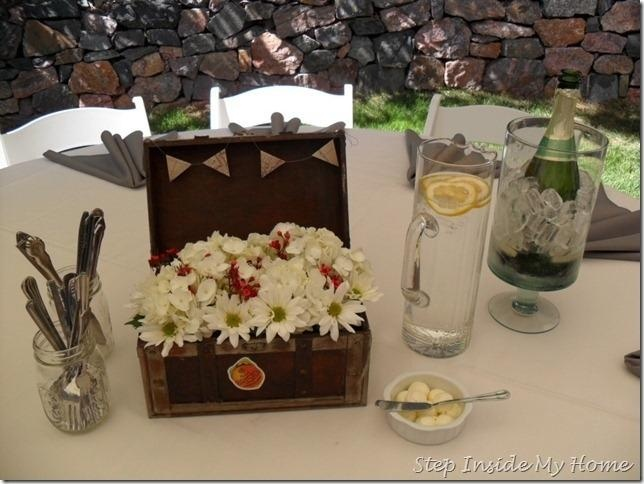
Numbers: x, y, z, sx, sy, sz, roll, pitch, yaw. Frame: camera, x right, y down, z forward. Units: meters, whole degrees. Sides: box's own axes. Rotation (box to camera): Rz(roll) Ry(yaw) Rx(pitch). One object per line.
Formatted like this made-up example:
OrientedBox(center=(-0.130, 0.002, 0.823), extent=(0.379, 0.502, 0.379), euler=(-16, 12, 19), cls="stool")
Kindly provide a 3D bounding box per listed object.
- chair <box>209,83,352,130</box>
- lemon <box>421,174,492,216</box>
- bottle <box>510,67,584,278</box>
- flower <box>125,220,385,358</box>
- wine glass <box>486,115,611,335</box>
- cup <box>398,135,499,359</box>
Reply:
OrientedBox(center=(-0.164, -0.545, 2.289), extent=(0.559, 0.190, 0.177), euler=(-2, 27, -1), cls="chair")
OrientedBox(center=(0.269, -0.097, 1.144), extent=(0.139, 0.076, 0.057), euler=(3, 27, 8), cls="lemon")
OrientedBox(center=(0.480, -0.156, 1.244), extent=(0.116, 0.410, 0.106), euler=(0, 27, 0), cls="bottle")
OrientedBox(center=(-0.131, 0.087, 1.148), extent=(0.489, 0.152, 0.272), euler=(-2, 28, -1), cls="flower")
OrientedBox(center=(0.497, 0.065, 1.355), extent=(0.192, 0.676, 0.174), euler=(4, 28, 9), cls="wine glass")
OrientedBox(center=(0.262, 0.049, 1.246), extent=(0.173, 0.510, 0.177), euler=(2, 33, -1), cls="cup")
